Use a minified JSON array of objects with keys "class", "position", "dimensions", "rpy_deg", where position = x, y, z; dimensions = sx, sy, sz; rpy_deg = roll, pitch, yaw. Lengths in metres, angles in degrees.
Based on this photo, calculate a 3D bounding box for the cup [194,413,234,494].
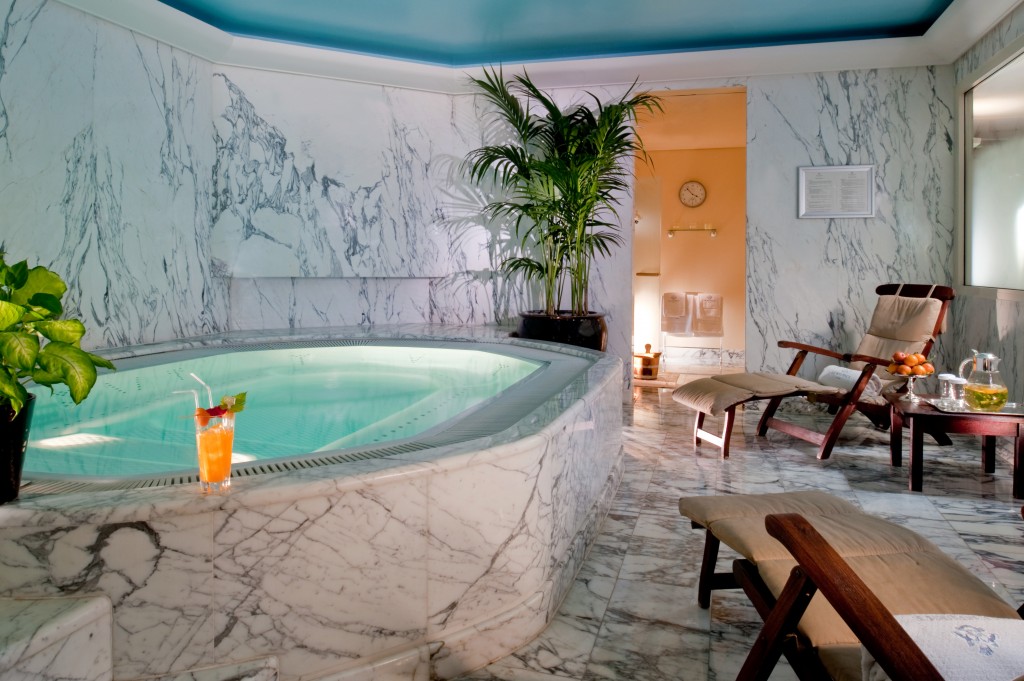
[{"class":"cup","position":[-0.956,0.346,1.980],"dimensions":[0.099,0.241,0.150],"rpy_deg":[-3,4,-27]}]

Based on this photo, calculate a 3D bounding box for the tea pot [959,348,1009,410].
[{"class":"tea pot","position":[2.878,0.228,3.752],"dimensions":[0.229,0.343,0.309],"rpy_deg":[-9,5,-31]}]

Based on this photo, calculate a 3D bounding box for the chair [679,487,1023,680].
[{"class":"chair","position":[1.109,0.824,2.191],"dimensions":[0.776,0.620,0.910],"rpy_deg":[-1,3,-7]}]

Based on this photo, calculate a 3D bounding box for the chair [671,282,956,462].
[{"class":"chair","position":[2.203,0.188,4.594],"dimensions":[1.887,1.162,0.884],"rpy_deg":[-4,6,-8]}]

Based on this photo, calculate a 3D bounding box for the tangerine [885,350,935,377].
[{"class":"tangerine","position":[2.656,0.157,4.122],"dimensions":[0.230,0.141,0.154],"rpy_deg":[1,3,30]}]

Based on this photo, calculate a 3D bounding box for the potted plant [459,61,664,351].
[{"class":"potted plant","position":[0.399,-1.148,5.196],"dimensions":[1.430,2.419,0.953],"rpy_deg":[-1,3,-3]}]
